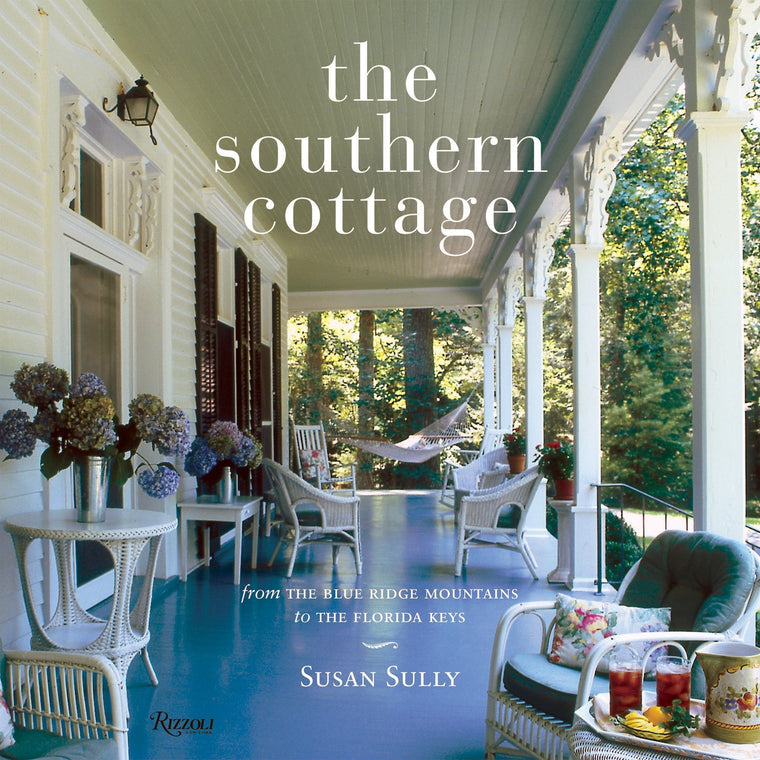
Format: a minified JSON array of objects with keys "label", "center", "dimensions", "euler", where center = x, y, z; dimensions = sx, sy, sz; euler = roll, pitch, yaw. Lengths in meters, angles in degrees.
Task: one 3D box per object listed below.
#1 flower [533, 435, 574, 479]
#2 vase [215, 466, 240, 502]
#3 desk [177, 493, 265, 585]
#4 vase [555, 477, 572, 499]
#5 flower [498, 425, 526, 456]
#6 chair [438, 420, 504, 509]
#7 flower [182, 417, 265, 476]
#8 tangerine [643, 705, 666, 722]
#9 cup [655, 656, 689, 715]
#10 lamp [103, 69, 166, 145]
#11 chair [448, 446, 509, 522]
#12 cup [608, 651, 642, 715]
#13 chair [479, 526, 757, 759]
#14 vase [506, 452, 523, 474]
[{"label":"flower","center":[1.150,0.505,5.055],"dimensions":[0.222,0.241,0.252],"euler":[-1,-4,-1]},{"label":"vase","center":[-0.990,0.689,4.990],"dimensions":[0.157,0.312,0.177],"euler":[1,-7,-11]},{"label":"desk","center":[-1.022,0.919,4.878],"dimensions":[0.402,0.612,0.603],"euler":[0,-5,4]},{"label":"vase","center":[1.167,0.689,4.845],"dimensions":[0.112,0.107,0.124],"euler":[1,-13,8]},{"label":"flower","center":[1.249,0.575,7.140],"dimensions":[0.194,0.252,0.344],"euler":[-1,-6,8]},{"label":"chair","center":[0.986,0.928,8.036],"dimensions":[0.762,1.285,0.898],"euler":[1,-7,3]},{"label":"flower","center":[-1.026,0.442,5.033],"dimensions":[0.511,0.352,0.357],"euler":[2,-6,-15]},{"label":"tangerine","center":[0.695,0.845,1.931],"dimensions":[0.036,0.039,0.045],"euler":[31,-29,-1]},{"label":"cup","center":[0.805,0.813,2.110],"dimensions":[0.081,0.119,0.416],"euler":[-2,-7,20]},{"label":"lamp","center":[-1.251,-1.399,3.908],"dimensions":[0.188,0.353,0.381],"euler":[-3,-6,13]},{"label":"chair","center":[0.987,0.919,7.234],"dimensions":[0.594,0.995,0.724],"euler":[1,-5,-1]},{"label":"cup","center":[0.643,0.808,2.009],"dimensions":[0.083,0.130,0.091],"euler":[0,-5,0]},{"label":"chair","center":[0.722,0.849,2.574],"dimensions":[0.732,0.960,0.629],"euler":[6,-15,-8]},{"label":"vase","center":[1.240,0.752,6.929],"dimensions":[0.129,0.124,0.145],"euler":[3,-22,5]}]
